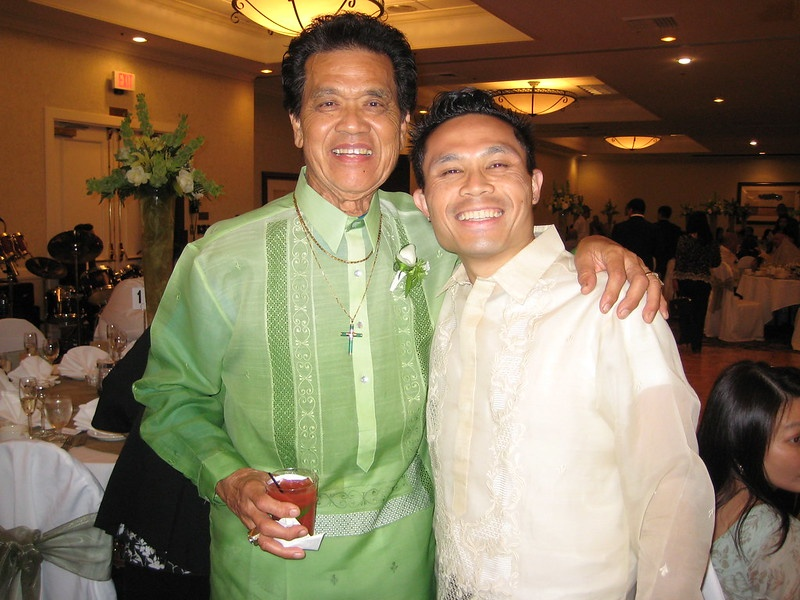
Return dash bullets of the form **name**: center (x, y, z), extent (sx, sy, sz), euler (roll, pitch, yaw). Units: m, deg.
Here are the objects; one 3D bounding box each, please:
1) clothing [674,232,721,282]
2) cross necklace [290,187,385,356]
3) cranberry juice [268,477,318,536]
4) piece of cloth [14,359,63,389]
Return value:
- **clothing**: center (4.403, -0.608, 9.148), extent (0.634, 0.671, 0.393), euler (12, 25, 36)
- **cross necklace**: center (-0.183, -0.074, 1.877), extent (0.217, 0.498, 0.220), euler (-4, 17, -31)
- **cranberry juice**: center (-0.277, 0.527, 1.577), extent (0.122, 0.151, 0.108), euler (1, 2, -6)
- **piece of cloth**: center (-2.150, 0.423, 3.654), extent (0.242, 0.100, 0.253), euler (21, 11, 11)
